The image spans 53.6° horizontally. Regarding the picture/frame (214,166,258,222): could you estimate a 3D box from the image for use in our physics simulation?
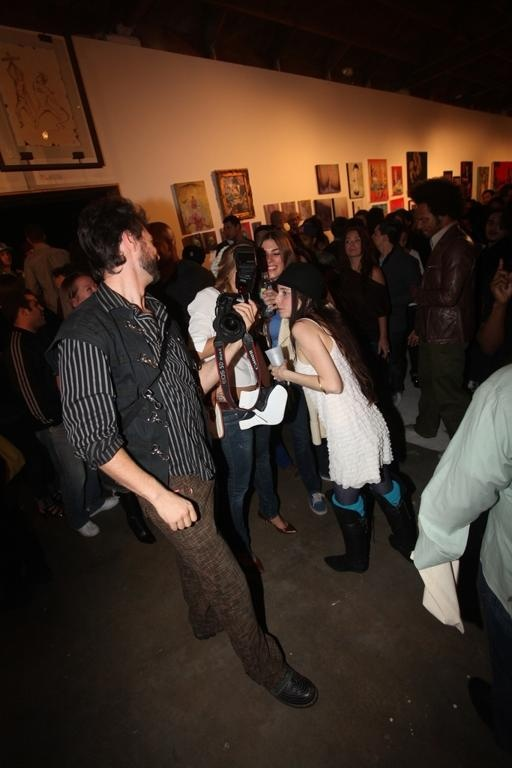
[{"bbox_3d":[-0.220,-1.976,5.283,0.055,0.508,0.530,3,22,38],"label":"picture/frame"}]

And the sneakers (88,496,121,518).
[{"bbox_3d":[-1.017,0.832,3.430,0.136,0.077,0.220,10,40,23],"label":"sneakers"}]

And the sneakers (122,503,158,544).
[{"bbox_3d":[-0.729,0.819,3.172,0.122,0.263,0.366,-25,10,-15],"label":"sneakers"}]

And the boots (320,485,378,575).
[{"bbox_3d":[0.475,0.754,2.551,0.297,0.471,0.200,14,51,20],"label":"boots"}]

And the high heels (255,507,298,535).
[{"bbox_3d":[0.103,0.809,2.965,0.265,0.087,0.100,29,28,7],"label":"high heels"}]
